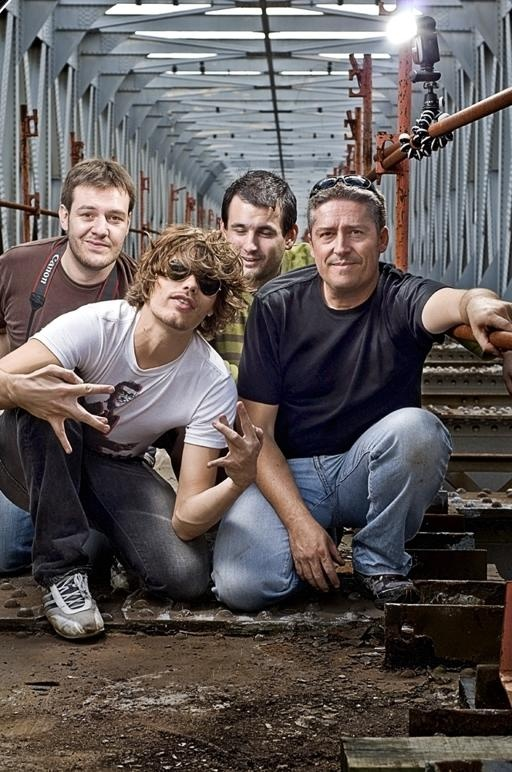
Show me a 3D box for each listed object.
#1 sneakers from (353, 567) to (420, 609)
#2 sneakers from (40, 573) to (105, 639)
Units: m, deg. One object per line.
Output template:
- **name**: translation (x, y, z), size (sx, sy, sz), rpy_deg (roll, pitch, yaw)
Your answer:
- **sneakers**: translation (0.570, 0.886, 3.243), size (0.196, 0.136, 0.404), rpy_deg (0, 1, -8)
- **sneakers**: translation (-0.738, 0.893, 3.040), size (0.183, 0.220, 0.259), rpy_deg (-1, 2, -26)
